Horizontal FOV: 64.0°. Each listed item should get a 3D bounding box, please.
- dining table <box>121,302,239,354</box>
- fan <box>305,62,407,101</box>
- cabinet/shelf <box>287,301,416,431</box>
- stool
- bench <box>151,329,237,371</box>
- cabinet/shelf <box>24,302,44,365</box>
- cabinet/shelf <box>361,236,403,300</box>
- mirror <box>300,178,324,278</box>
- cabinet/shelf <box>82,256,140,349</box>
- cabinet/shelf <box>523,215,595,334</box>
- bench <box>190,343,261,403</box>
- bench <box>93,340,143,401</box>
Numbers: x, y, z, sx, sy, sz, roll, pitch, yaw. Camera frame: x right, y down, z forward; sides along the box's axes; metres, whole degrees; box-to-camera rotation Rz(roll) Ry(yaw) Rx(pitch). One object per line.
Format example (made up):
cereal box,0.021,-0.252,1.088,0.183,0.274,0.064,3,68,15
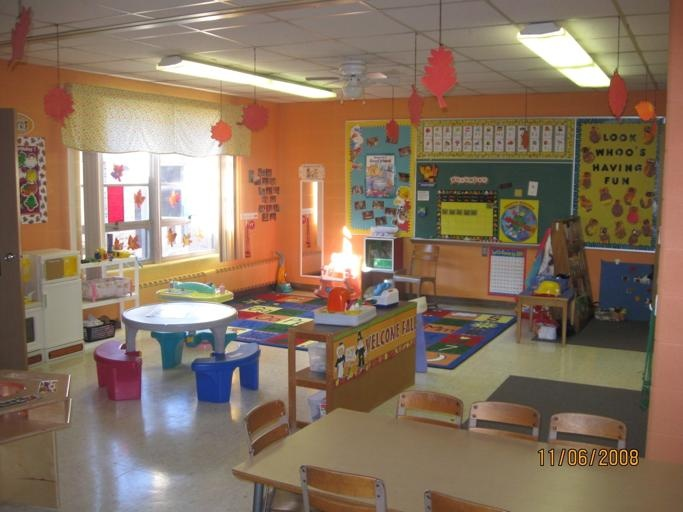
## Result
dining table,-2.011,0.769,6.615,0.910,0.244,0.874,-1,8,-19
fan,0.186,-2.407,7.584,0.994,0.360,1.010,-1,6,5
cabinet/shelf,0.157,1.194,6.178,0.614,1.007,1.865,0,6,31
stool,3.160,0.922,8.426,0.844,0.733,0.831,1,3,20
bench,-2.323,1.224,7.641,0.913,0.409,0.624,-2,3,-41
cabinet/shelf,-4.113,1.032,7.275,0.110,0.816,0.257,2,8,16
cabinet/shelf,0.664,0.314,11.185,0.795,1.338,0.493,-1,-7,-35
mirror,-0.702,-0.644,12.209,0.500,2.071,1.023,-1,8,-5
cabinet/shelf,-3.477,0.703,8.107,0.475,1.097,1.249,9,13,35
cabinet/shelf,3.650,0.352,9.035,0.787,1.715,1.895,4,8,28
bench,-1.331,1.424,6.607,0.501,0.482,1.027,4,6,32
bench,-2.648,1.164,6.436,0.518,0.453,0.962,-8,15,-31
